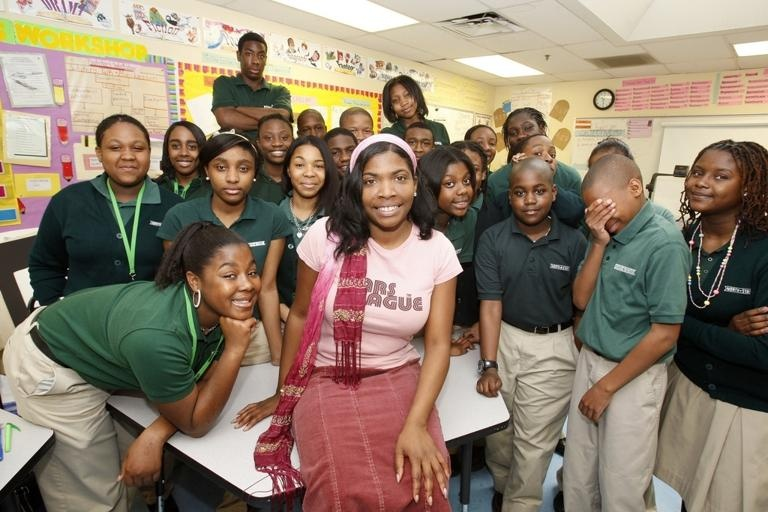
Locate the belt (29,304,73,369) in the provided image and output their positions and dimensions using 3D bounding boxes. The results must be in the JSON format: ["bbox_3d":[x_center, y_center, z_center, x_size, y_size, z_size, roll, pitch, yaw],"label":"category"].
[{"bbox_3d":[-1.779,0.411,2.648,0.071,0.299,0.290,-30,47,15],"label":"belt"}]

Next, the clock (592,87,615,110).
[{"bbox_3d":[3.362,-2.420,7.751,0.038,0.348,0.339,2,7,-35],"label":"clock"}]
